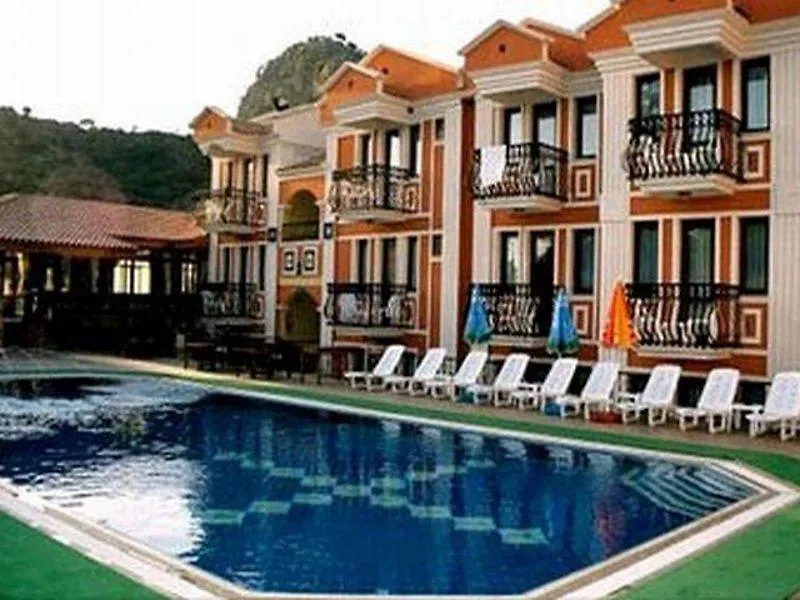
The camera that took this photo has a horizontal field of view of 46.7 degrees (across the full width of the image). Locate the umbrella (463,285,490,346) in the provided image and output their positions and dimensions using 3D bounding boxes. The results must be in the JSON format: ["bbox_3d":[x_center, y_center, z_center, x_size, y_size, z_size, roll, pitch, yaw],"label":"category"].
[{"bbox_3d":[2.095,0.447,25.034,0.741,1.601,0.821,1,8,11],"label":"umbrella"}]

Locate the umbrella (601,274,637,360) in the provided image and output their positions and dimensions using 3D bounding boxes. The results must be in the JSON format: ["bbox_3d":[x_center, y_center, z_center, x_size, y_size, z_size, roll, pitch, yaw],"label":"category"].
[{"bbox_3d":[5.286,0.503,22.600,1.046,2.139,1.752,3,9,23],"label":"umbrella"}]
